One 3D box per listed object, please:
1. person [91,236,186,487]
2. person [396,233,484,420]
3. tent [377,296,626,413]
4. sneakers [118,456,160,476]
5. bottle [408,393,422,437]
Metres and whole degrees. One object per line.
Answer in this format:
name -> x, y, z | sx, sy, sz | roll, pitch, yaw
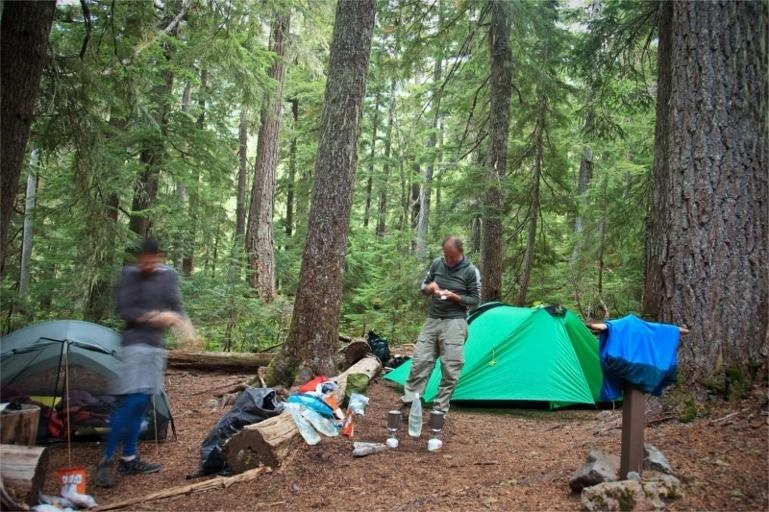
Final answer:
person -> -3.388, 1.469, 8.842 | 0.980, 3.385, 0.524 | 4, -6, -19
person -> 0.932, 1.060, 9.984 | 1.101, 2.728, 0.553 | 1, -6, 7
tent -> 2.414, 1.815, 10.804 | 2.011, 1.062, 2.535 | 0, 0, 32
sneakers -> -3.461, 2.988, 9.019 | 0.576, 0.257, 0.232 | 2, -5, -11
bottle -> 0.478, 2.473, 9.750 | 0.204, 0.630, 0.360 | 1, -6, 3
